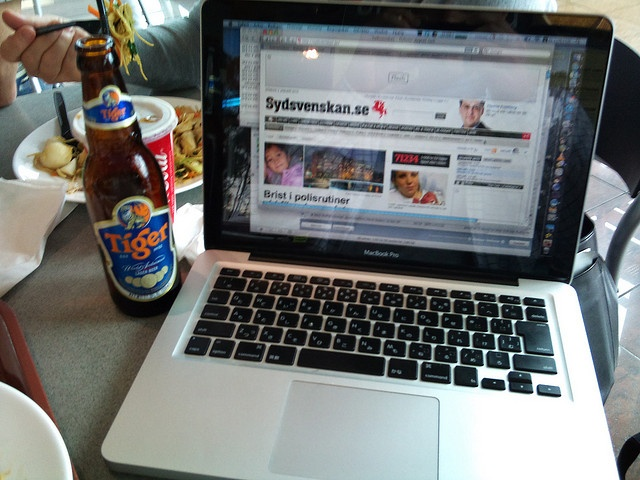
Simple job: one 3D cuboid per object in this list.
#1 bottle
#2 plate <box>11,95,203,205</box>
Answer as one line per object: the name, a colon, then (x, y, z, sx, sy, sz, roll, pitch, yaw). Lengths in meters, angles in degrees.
bottle: (-0.228, -0.055, 0.592, 0.083, 0.324, 0.085, 1, 35, -1)
plate: (-0.402, -0.140, 0.938, 0.253, 0.043, 0.258, -11, 50, -26)
